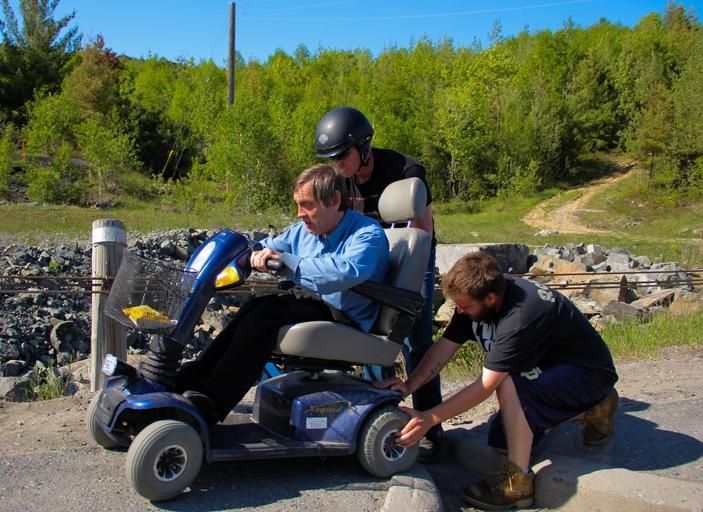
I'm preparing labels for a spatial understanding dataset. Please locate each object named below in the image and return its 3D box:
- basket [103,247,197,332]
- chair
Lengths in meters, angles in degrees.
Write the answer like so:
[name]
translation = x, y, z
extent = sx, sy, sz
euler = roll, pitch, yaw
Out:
[basket]
translation = -1.449, 0.289, 5.157
extent = 0.678, 0.543, 0.600
euler = 12, 3, 13
[chair]
translation = 0.029, -0.206, 5.888
extent = 1.312, 1.428, 0.952
euler = 15, -1, -14
